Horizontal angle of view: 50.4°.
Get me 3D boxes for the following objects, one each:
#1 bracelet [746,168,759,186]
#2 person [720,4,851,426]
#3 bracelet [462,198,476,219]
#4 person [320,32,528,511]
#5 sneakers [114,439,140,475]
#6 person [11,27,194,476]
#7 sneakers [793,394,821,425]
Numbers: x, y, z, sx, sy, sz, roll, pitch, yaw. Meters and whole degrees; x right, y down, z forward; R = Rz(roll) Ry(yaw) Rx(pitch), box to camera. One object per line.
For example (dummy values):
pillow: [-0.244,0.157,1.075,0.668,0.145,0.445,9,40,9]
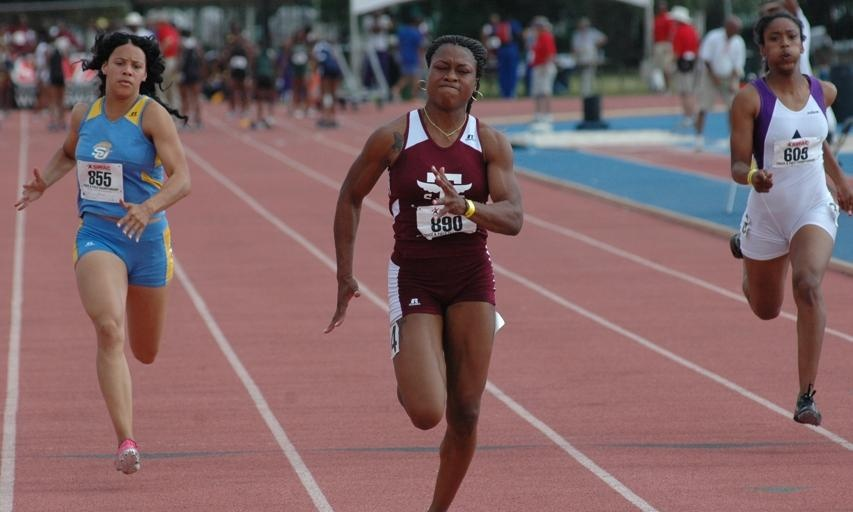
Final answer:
bracelet: [2.337,-0.571,6.555,0.095,0.114,0.062,17,0,10]
person: [2.639,-0.485,6.755,0.800,2.564,1.180,3,15,18]
bracelet: [0.238,-0.265,5.160,0.073,0.102,0.096,-1,1,-14]
person: [0.011,0.160,5.410,1.140,2.839,0.998,-3,15,-6]
sneakers: [-1.907,1.300,5.786,0.131,0.299,0.138,6,47,-10]
person: [-2.047,-0.063,6.140,0.908,2.812,1.398,-6,15,-18]
sneakers: [2.656,1.099,6.377,0.167,0.262,0.229,5,16,23]
